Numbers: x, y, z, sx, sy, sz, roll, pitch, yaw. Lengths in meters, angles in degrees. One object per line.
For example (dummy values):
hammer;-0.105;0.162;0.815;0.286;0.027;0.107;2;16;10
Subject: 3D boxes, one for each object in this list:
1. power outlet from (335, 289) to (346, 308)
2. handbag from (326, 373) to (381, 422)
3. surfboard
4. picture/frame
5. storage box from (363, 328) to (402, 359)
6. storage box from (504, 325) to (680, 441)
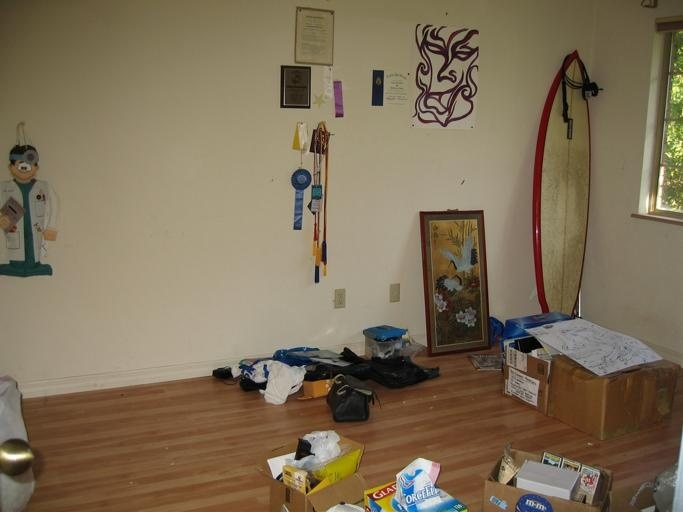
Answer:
power outlet;-0.015;0.319;3.940;0.119;0.183;0.019;-3;8;-32
handbag;0.057;0.884;3.203;0.203;0.232;0.317;-6;4;-9
surfboard;1.856;-0.596;4.337;0.593;2.188;0.284;-7;12;-32
picture/frame;0.917;0.198;4.139;0.575;1.105;0.240;-4;11;-18
storage box;0.313;0.610;3.921;0.224;0.216;0.232;-4;7;-28
storage box;1.649;0.605;3.201;0.713;0.429;0.731;1;11;-32
